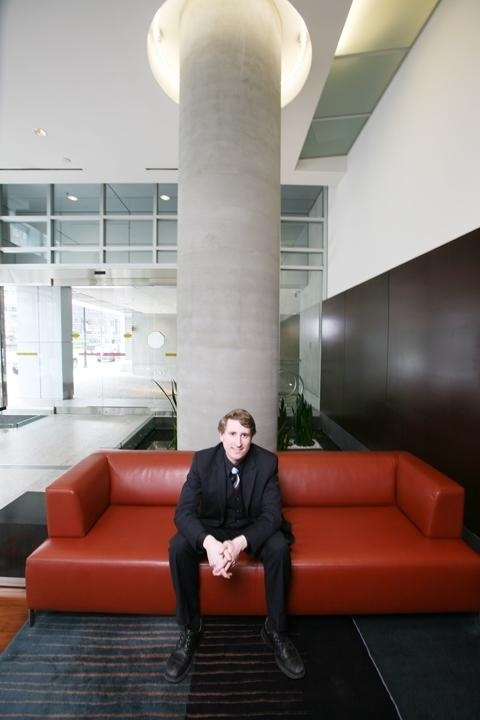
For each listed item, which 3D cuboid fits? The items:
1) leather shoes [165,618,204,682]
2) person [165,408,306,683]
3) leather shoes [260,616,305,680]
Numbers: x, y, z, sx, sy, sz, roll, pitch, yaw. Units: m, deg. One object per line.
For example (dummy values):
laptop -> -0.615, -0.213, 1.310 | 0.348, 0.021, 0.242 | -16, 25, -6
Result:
leather shoes -> -0.234, 1.178, 2.064 | 0.062, 0.085, 0.220 | 1, 4, 11
person -> -0.019, 0.765, 2.236 | 0.613, 1.057, 0.756 | -2, 3, 29
leather shoes -> 0.173, 1.180, 2.119 | 0.081, 0.112, 0.256 | 0, 3, -17
